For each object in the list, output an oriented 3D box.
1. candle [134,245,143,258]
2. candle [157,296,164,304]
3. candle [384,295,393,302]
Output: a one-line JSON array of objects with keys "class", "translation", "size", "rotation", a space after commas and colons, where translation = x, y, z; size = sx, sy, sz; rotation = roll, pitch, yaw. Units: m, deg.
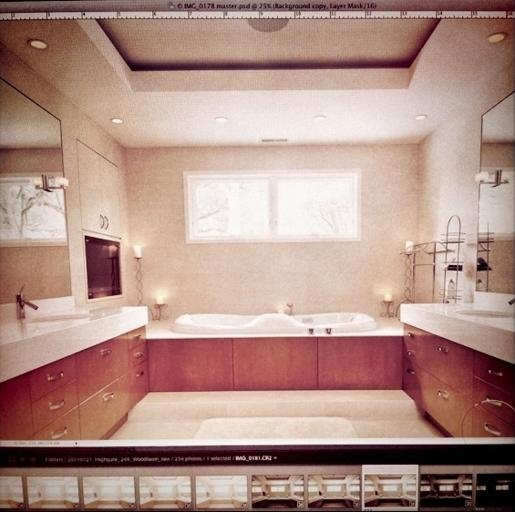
[{"class": "candle", "translation": [-1.107, -0.039, 4.728], "size": [0.068, 0.124, 0.115], "rotation": [-2, 0, -2]}, {"class": "candle", "translation": [-0.894, 0.405, 4.742], "size": [0.064, 0.068, 0.064], "rotation": [-1, -6, 3]}, {"class": "candle", "translation": [1.219, 0.390, 4.718], "size": [0.068, 0.076, 0.068], "rotation": [-9, 12, -35]}]
